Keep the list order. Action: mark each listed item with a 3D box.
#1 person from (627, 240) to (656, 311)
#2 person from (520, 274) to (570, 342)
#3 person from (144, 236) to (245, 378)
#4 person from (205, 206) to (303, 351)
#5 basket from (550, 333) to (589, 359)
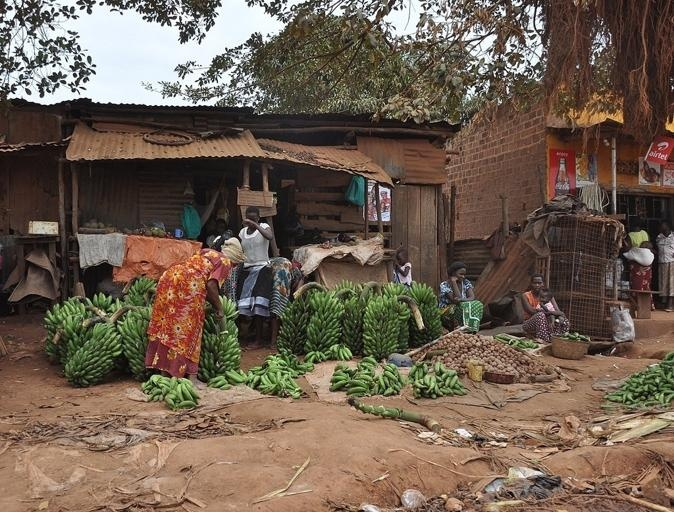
[{"bbox_3d":[7.425,0.371,15.514,0.852,1.837,0.838,0,-1,-11],"label":"person"},{"bbox_3d":[3.616,0.870,11.562,0.781,1.165,0.779,1,4,-39],"label":"person"},{"bbox_3d":[-1.762,0.681,8.221,0.819,1.841,1.150,15,7,40],"label":"person"},{"bbox_3d":[-1.165,0.339,10.189,1.233,1.976,1.059,6,4,-37],"label":"person"},{"bbox_3d":[3.673,1.427,10.176,0.452,0.218,0.432,3,-6,-10],"label":"basket"}]
